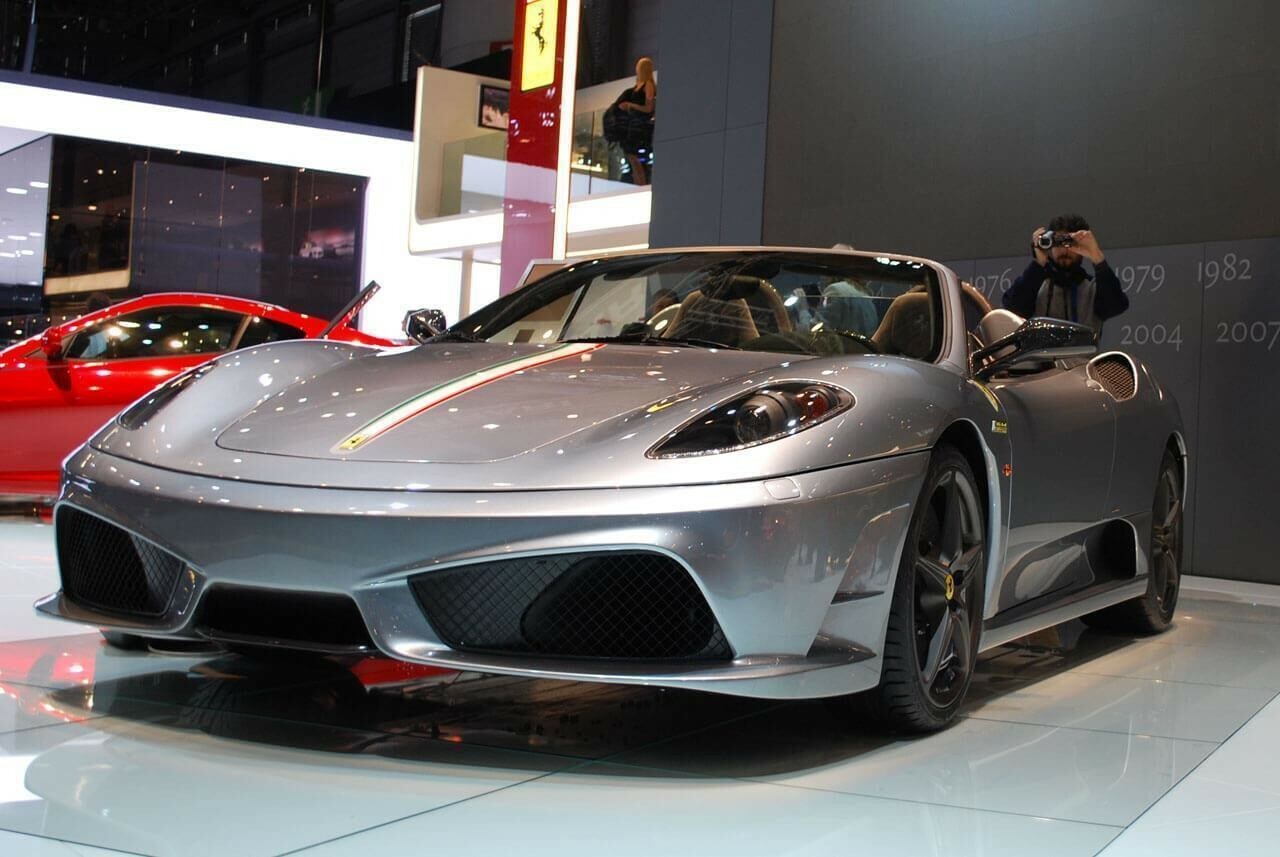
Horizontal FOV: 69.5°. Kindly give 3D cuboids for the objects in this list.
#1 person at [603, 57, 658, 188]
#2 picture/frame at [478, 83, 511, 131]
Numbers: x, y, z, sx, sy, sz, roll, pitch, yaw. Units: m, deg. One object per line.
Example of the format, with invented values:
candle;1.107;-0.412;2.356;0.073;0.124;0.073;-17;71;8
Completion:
person;-0.126;-4.108;12.263;0.577;1.694;1.138;3;0;-11
picture/frame;-2.502;-5.496;15.745;0.479;0.868;1.090;3;0;-11
